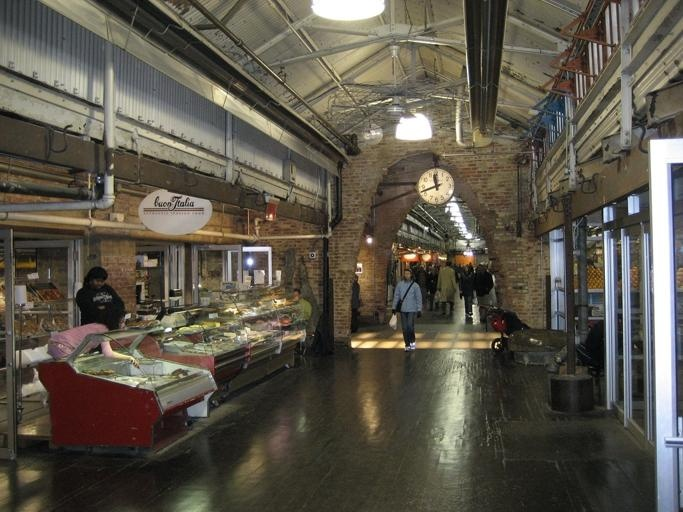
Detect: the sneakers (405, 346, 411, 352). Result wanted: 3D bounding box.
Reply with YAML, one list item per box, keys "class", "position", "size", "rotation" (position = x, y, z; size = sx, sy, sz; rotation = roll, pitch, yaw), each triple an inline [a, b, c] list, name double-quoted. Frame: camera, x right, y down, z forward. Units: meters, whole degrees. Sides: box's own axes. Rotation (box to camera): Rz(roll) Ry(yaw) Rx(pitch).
- class: "sneakers"
  position: [1.507, 2.141, 12.676]
  size: [0.120, 0.090, 0.206]
  rotation: [3, 6, 13]

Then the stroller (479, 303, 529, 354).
- class: "stroller"
  position: [3.516, 1.620, 12.126]
  size: [0.703, 0.714, 1.190]
  rotation: [5, 4, 7]

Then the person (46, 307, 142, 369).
- class: "person"
  position: [-3.054, 1.016, 6.855]
  size: [0.923, 0.607, 1.466]
  rotation: [-1, 0, -28]

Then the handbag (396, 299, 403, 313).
- class: "handbag"
  position: [1.344, 1.182, 12.979]
  size: [0.067, 0.231, 0.171]
  rotation: [7, -2, -27]

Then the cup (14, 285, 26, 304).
- class: "cup"
  position: [-3.850, 0.480, 6.737]
  size: [0.100, 0.237, 0.193]
  rotation: [-1, 0, -25]

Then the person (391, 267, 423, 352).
- class: "person"
  position: [1.556, 1.253, 13.220]
  size: [0.642, 1.566, 1.200]
  rotation: [-1, 0, 7]

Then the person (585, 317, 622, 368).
- class: "person"
  position: [3.724, 1.340, 8.005]
  size: [0.237, 0.836, 1.115]
  rotation: [-1, 0, 11]

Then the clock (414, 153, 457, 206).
- class: "clock"
  position: [2.529, -1.875, 15.029]
  size: [0.918, 1.035, 0.226]
  rotation: [-1, 0, 25]

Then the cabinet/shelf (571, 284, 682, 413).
- class: "cabinet/shelf"
  position: [4.356, 1.340, 8.053]
  size: [1.290, 1.622, 1.322]
  rotation: [-3, 9, 8]
